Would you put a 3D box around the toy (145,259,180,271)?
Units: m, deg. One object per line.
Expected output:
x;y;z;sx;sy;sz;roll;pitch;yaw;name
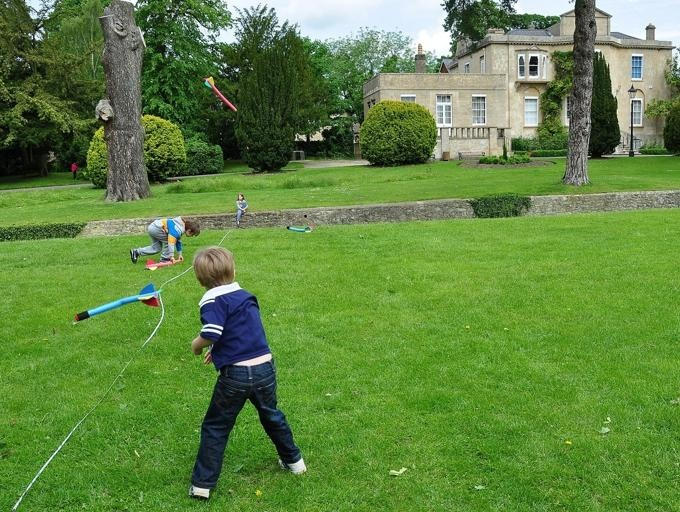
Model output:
-3.304;0.161;12.995;0.572;0.240;0.250;-9;2;-37;toy

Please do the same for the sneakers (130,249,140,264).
-3.905;-0.036;13.277;0.132;0.356;0.109;-3;10;-24;sneakers

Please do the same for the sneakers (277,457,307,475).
-0.531;2.347;7.754;0.332;0.174;0.129;1;2;44;sneakers

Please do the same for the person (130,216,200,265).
-3.218;-0.276;13.021;0.840;0.916;1.817;-10;14;-43;person

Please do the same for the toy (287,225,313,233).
-0.890;-0.598;15.736;0.352;0.119;0.249;5;5;-15;toy

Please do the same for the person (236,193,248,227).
-2.389;-1.126;16.892;0.253;0.790;0.595;-2;9;-9;person
